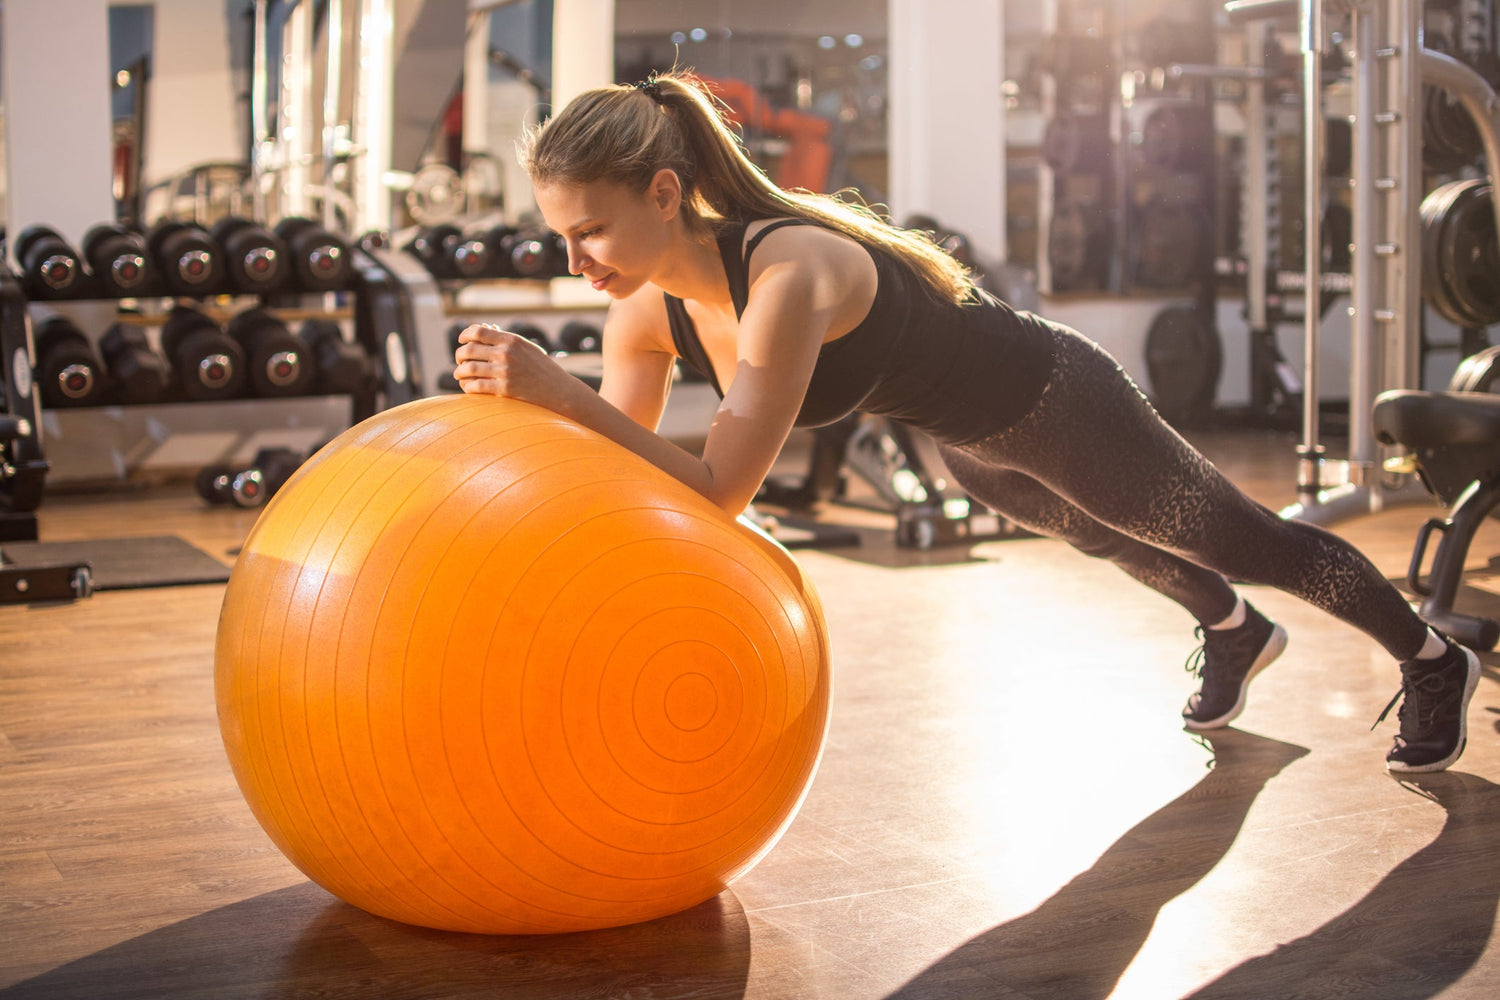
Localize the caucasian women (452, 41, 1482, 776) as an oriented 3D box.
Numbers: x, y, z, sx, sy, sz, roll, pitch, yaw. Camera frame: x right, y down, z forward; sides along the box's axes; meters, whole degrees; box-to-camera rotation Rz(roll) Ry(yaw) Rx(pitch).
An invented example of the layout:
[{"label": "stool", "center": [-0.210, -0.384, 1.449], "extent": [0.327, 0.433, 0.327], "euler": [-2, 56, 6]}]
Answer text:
[{"label": "caucasian women", "center": [0.434, -0.063, 2.706], "extent": [2.075, 1.173, 0.700], "euler": [5, 6, -16]}]

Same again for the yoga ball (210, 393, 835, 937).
[{"label": "yoga ball", "center": [-0.343, 0.284, 2.570], "extent": [0.951, 0.764, 1.039], "euler": [24, 9, -4]}]

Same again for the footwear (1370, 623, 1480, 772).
[{"label": "footwear", "center": [1.362, 0.421, 2.892], "extent": [0.162, 0.375, 0.122], "euler": [5, 11, -7]}]

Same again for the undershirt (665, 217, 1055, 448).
[{"label": "undershirt", "center": [0.310, -0.266, 2.443], "extent": [0.463, 0.347, 0.135], "euler": [-3, 14, -10]}]
